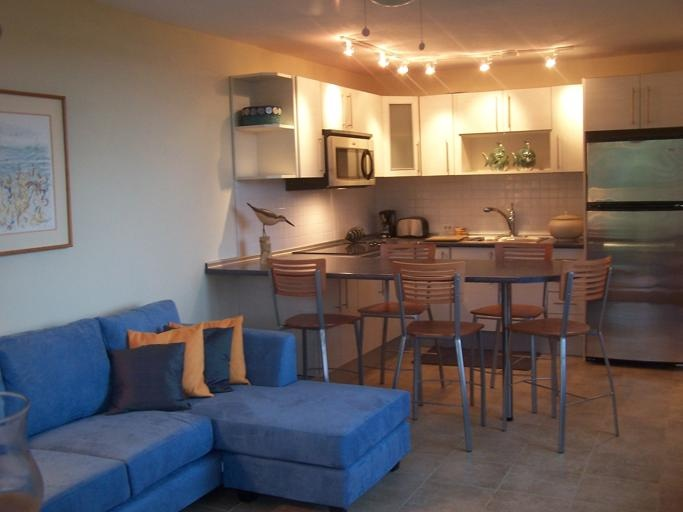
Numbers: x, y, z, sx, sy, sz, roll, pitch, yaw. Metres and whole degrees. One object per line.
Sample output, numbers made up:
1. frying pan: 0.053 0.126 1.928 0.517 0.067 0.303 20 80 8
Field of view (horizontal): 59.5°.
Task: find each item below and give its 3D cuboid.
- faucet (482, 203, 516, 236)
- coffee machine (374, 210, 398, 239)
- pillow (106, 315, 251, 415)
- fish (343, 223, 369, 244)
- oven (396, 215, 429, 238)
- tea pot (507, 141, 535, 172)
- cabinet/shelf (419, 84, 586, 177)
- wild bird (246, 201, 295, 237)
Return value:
1. faucet: 1.847 -0.427 6.995 0.367 0.345 0.229 0 10 13
2. coffee machine: 0.578 -0.430 7.535 0.247 0.319 0.390 -1 9 4
3. pillow: -1.057 0.672 3.799 0.618 0.573 0.175 6 -27 -27
4. fish: 0.159 -0.255 6.954 0.117 0.187 0.397 2 5 27
5. oven: 0.862 -0.365 7.289 0.403 0.239 0.298 -1 9 7
6. tea pot: 1.991 -1.099 6.515 0.354 0.340 0.247 -1 6 18
7. cabinet/shelf: 1.889 -1.376 6.764 1.935 0.931 0.569 4 16 31
8. wild bird: -0.697 -0.364 5.624 0.354 0.305 0.651 -3 9 -9
